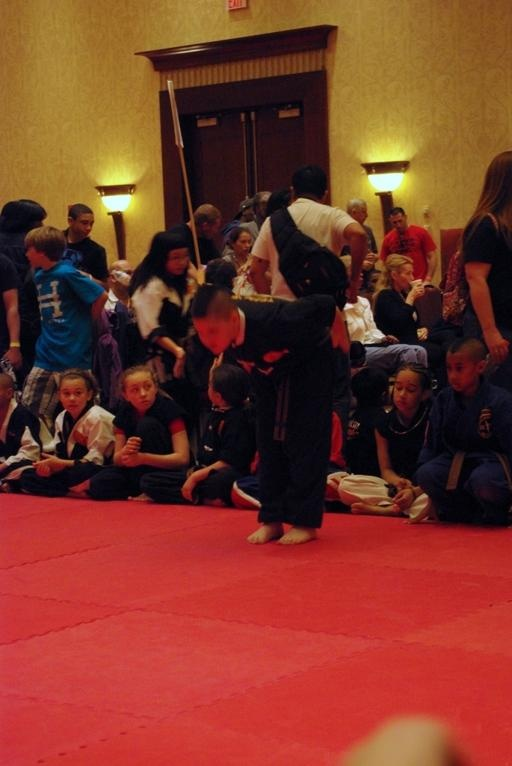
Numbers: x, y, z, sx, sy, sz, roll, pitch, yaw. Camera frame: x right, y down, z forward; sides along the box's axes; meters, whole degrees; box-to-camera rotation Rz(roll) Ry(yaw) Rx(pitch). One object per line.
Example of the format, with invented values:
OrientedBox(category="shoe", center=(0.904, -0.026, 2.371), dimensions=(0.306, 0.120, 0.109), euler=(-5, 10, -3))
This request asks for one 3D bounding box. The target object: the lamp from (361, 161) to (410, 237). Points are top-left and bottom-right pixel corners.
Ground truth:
OrientedBox(category="lamp", center=(1.581, -2.092, 8.188), dimensions=(0.644, 1.042, 0.525), euler=(-7, 9, -10))

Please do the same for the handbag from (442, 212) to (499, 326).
OrientedBox(category="handbag", center=(1.052, -0.522, 3.479), dimensions=(0.141, 0.414, 0.151), euler=(9, 5, -30))

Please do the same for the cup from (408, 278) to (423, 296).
OrientedBox(category="cup", center=(1.306, -0.786, 5.474), dimensions=(0.114, 0.113, 0.169), euler=(-2, -3, 6))
